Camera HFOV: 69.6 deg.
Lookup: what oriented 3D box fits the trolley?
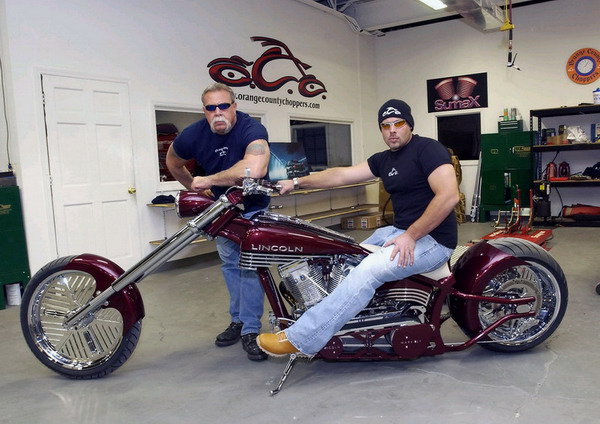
[{"bbox_3d":[3.062,0.141,6.170,0.660,0.652,1.033,-6,-7,25],"label":"trolley"}]

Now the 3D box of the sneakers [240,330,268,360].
[{"bbox_3d":[-0.354,0.990,3.171,0.117,0.145,0.315,0,-3,-24],"label":"sneakers"}]

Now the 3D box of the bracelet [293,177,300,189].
[{"bbox_3d":[-0.025,-0.202,3.000,0.043,0.072,0.071,-2,-8,-6],"label":"bracelet"}]

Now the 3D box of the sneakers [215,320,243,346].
[{"bbox_3d":[-0.554,0.975,3.487,0.104,0.132,0.293,1,-2,29],"label":"sneakers"}]

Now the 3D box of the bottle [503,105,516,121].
[{"bbox_3d":[4.250,-1.969,8.612,0.306,0.337,0.239,3,5,32],"label":"bottle"}]

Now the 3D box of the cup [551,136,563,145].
[{"bbox_3d":[4.757,-1.335,7.976,0.176,0.173,0.177,-1,11,0],"label":"cup"}]

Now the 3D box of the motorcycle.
[{"bbox_3d":[0.048,0.381,3.516,4.578,1.705,1.427,0,5,2],"label":"motorcycle"}]

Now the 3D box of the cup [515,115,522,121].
[{"bbox_3d":[4.313,-1.852,8.474,0.098,0.167,0.156,2,0,20],"label":"cup"}]

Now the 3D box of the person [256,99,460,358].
[{"bbox_3d":[0.448,0.158,2.888,1.191,1.362,0.673,-3,8,-5],"label":"person"}]

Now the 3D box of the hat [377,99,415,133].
[{"bbox_3d":[0.662,-0.685,2.966,0.187,0.175,0.220,-4,-15,18],"label":"hat"}]
